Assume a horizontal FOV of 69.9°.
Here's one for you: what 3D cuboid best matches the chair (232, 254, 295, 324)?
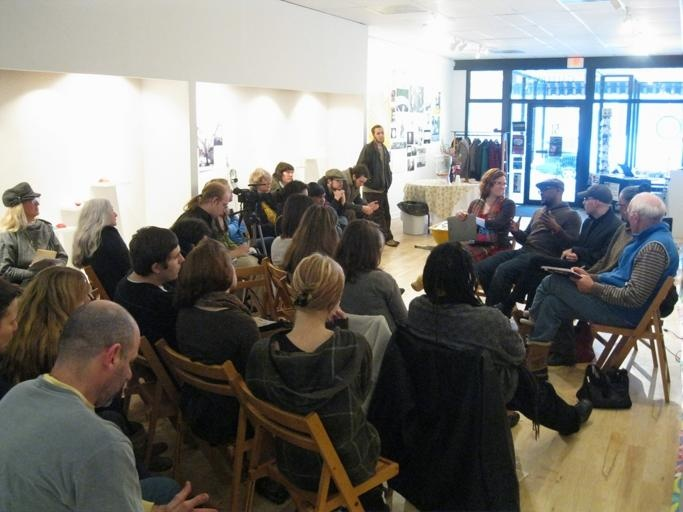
[{"bbox_3d":[-0.615,0.250,3.911,0.390,0.700,0.455,5,15,17],"label":"chair"}]

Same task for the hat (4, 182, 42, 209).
[{"bbox_3d":[-2.834,-0.528,4.355,0.275,0.135,0.197,-22,40,-30],"label":"hat"}]

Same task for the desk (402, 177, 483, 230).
[{"bbox_3d":[1.901,-1.173,9.752,1.021,0.600,1.059,-5,13,-20],"label":"desk"}]

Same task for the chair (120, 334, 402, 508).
[{"bbox_3d":[-0.339,0.782,2.357,0.345,0.565,0.940,-11,18,-41],"label":"chair"}]

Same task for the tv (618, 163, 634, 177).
[{"bbox_3d":[6.853,-2.035,11.753,0.218,0.289,0.374,-2,30,-9],"label":"tv"}]

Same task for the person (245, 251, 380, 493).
[{"bbox_3d":[-0.117,0.516,2.215,0.548,0.969,0.431,-7,15,-28],"label":"person"}]

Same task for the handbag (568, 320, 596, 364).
[{"bbox_3d":[2.201,0.785,4.611,0.358,0.394,0.179,6,3,31],"label":"handbag"}]

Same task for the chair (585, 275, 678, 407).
[{"bbox_3d":[2.461,0.688,4.179,0.597,0.919,0.632,2,-9,32],"label":"chair"}]

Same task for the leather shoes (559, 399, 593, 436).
[{"bbox_3d":[1.639,1.125,3.406,0.110,0.228,0.320,14,43,43],"label":"leather shoes"}]

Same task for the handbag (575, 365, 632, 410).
[{"bbox_3d":[2.111,1.046,3.887,0.365,0.409,0.399,10,-6,33],"label":"handbag"}]

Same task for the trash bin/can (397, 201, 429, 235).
[{"bbox_3d":[1.477,-0.880,9.971,0.513,0.734,0.712,12,33,26],"label":"trash bin/can"}]

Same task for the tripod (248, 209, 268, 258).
[{"bbox_3d":[-0.941,-0.278,5.433,0.249,0.509,0.233,-4,-11,35],"label":"tripod"}]

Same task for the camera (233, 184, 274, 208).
[{"bbox_3d":[-0.910,-0.643,5.337,0.357,0.141,0.341,-3,8,-41],"label":"camera"}]

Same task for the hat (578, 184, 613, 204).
[{"bbox_3d":[2.578,-0.631,4.960,0.279,0.167,0.207,16,19,31],"label":"hat"}]

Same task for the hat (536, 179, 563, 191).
[{"bbox_3d":[2.298,-0.816,5.363,0.243,0.108,0.194,7,1,25],"label":"hat"}]

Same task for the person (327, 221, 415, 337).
[{"bbox_3d":[0.254,0.121,3.456,0.539,0.796,0.652,4,14,20],"label":"person"}]
